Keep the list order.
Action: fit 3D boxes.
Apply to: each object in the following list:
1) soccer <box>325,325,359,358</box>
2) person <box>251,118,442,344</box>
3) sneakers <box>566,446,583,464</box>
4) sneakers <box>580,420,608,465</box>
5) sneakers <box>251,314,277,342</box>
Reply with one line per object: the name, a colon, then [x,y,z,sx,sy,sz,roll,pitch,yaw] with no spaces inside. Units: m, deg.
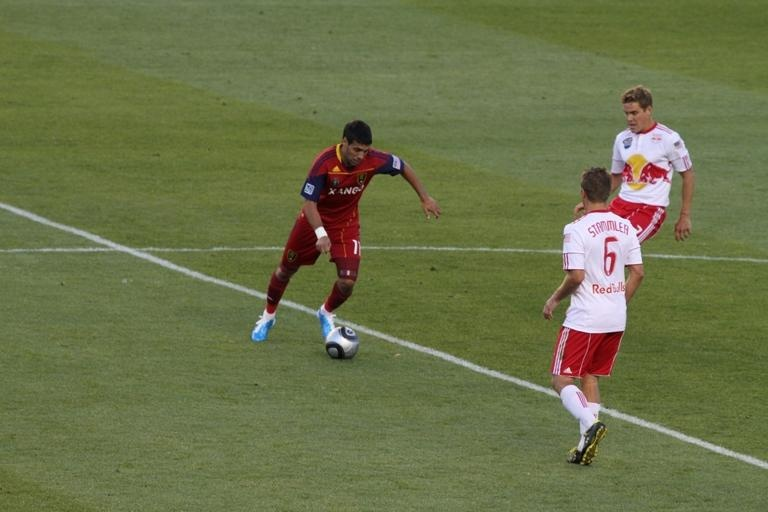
soccer: [-0.513,1.012,17.828,0.434,0.384,0.399,-2,28,10]
person: [-0.579,-0.289,17.802,1.695,2.745,0.823,5,17,-11]
sneakers: [2.039,2.130,16.216,0.140,0.177,0.072,15,61,-6]
sneakers: [2.226,1.995,16.135,0.197,0.517,0.111,-2,20,-31]
sneakers: [-1.465,0.876,17.966,0.173,0.163,0.426,20,48,15]
